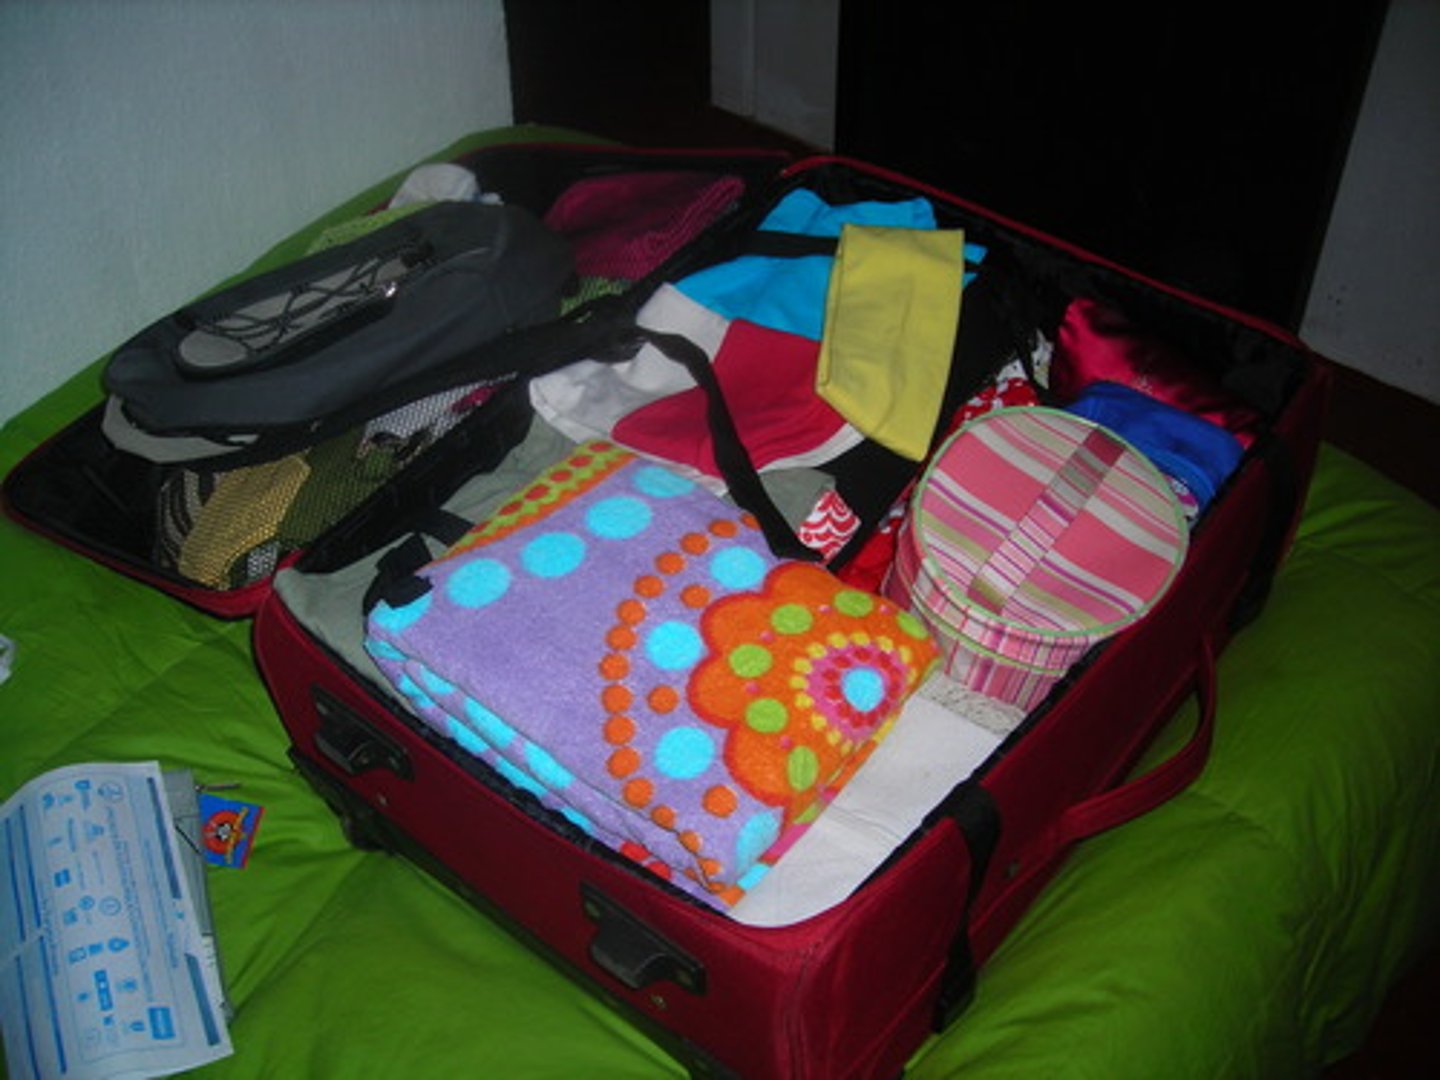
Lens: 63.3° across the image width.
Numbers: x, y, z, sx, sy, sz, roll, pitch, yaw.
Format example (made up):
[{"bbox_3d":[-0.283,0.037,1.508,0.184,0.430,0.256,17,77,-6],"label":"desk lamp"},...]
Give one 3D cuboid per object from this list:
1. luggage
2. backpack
[{"bbox_3d":[0.156,0.045,1.359,1.101,0.377,1.130,29,52,25],"label":"luggage"},{"bbox_3d":[-0.484,-0.270,1.536,0.538,0.117,0.329,-30,48,-24],"label":"backpack"}]
